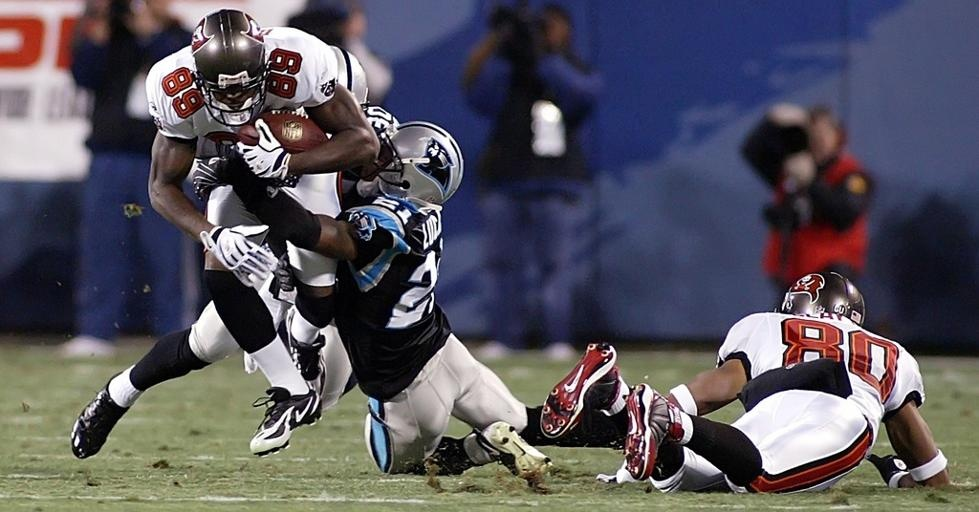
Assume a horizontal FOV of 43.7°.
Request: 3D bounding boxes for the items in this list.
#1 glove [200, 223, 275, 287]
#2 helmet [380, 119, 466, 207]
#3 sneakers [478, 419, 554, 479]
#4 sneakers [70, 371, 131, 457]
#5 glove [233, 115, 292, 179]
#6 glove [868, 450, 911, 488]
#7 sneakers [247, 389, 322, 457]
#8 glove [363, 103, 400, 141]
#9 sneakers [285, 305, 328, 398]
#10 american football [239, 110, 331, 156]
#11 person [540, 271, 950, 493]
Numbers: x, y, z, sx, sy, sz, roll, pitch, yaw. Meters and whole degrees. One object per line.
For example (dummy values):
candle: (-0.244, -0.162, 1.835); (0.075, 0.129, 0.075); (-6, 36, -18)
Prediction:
glove: (-1.621, -0.033, 7.977); (0.468, 0.325, 0.145); (28, -2, 2)
helmet: (-0.417, -0.645, 8.293); (0.604, 0.489, 0.484); (17, 11, -9)
sneakers: (0.175, 1.264, 8.093); (0.476, 0.278, 0.212); (43, 8, -4)
sneakers: (-2.788, 1.161, 8.777); (0.220, 0.609, 0.278); (39, -5, -15)
glove: (-1.482, -0.688, 7.915); (0.350, 0.392, 0.213); (7, 11, 38)
glove: (2.694, 1.441, 8.208); (0.114, 0.111, 0.257); (-29, 41, -16)
sneakers: (-1.381, 1.157, 8.356); (0.233, 0.297, 0.580); (14, 52, 48)
glove: (-0.746, -0.880, 8.307); (0.294, 0.098, 0.221); (31, 40, 24)
sneakers: (-1.207, 0.664, 8.196); (0.232, 0.623, 0.276); (-12, 27, -6)
american football: (-1.353, -0.806, 8.079); (0.655, 0.335, 0.315); (0, 30, -24)
person: (1.664, 0.813, 8.009); (2.250, 0.855, 1.371); (2, -5, -27)
